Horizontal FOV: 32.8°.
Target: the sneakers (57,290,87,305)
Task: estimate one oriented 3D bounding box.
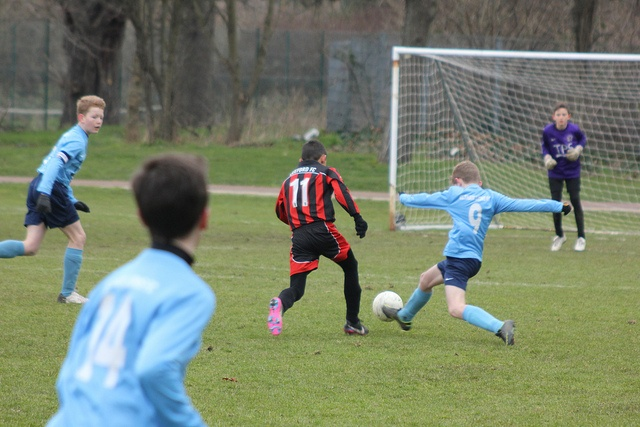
[{"bbox_3d":[-4.061,1.378,18.015,0.573,0.289,0.222,1,5,-5],"label":"sneakers"}]

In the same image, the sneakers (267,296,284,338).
[{"bbox_3d":[-0.711,1.636,17.178,0.229,0.563,0.237,-2,-8,3],"label":"sneakers"}]

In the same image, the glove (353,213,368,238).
[{"bbox_3d":[0.666,0.195,17.569,0.118,0.340,0.258,-9,13,22],"label":"glove"}]

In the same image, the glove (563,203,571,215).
[{"bbox_3d":[3.941,-0.066,17.400,0.120,0.184,0.080,-5,10,-8],"label":"glove"}]

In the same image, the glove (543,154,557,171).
[{"bbox_3d":[4.355,-0.976,20.575,0.192,0.273,0.119,-19,3,11],"label":"glove"}]

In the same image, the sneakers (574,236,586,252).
[{"bbox_3d":[5.098,0.605,21.263,0.232,0.310,0.677,-1,-2,16],"label":"sneakers"}]

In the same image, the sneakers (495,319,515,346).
[{"bbox_3d":[2.979,1.893,17.403,0.205,0.498,0.181,-8,8,2],"label":"sneakers"}]

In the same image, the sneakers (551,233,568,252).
[{"bbox_3d":[4.645,0.595,21.254,0.186,0.450,0.158,40,-16,-6],"label":"sneakers"}]

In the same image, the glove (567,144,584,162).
[{"bbox_3d":[4.819,-1.146,20.515,0.228,0.139,0.314,-17,15,42],"label":"glove"}]

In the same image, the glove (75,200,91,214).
[{"bbox_3d":[-3.997,-0.110,18.203,0.096,0.167,0.247,0,-24,47],"label":"glove"}]

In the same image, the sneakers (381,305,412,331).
[{"bbox_3d":[1.239,1.690,17.846,0.617,0.280,0.220,46,10,5],"label":"sneakers"}]

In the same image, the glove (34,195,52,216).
[{"bbox_3d":[-4.456,-0.158,17.460,0.200,0.300,0.282,4,3,-14],"label":"glove"}]

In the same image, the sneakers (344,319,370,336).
[{"bbox_3d":[0.592,1.887,17.715,0.416,0.233,0.170,3,0,-18],"label":"sneakers"}]
